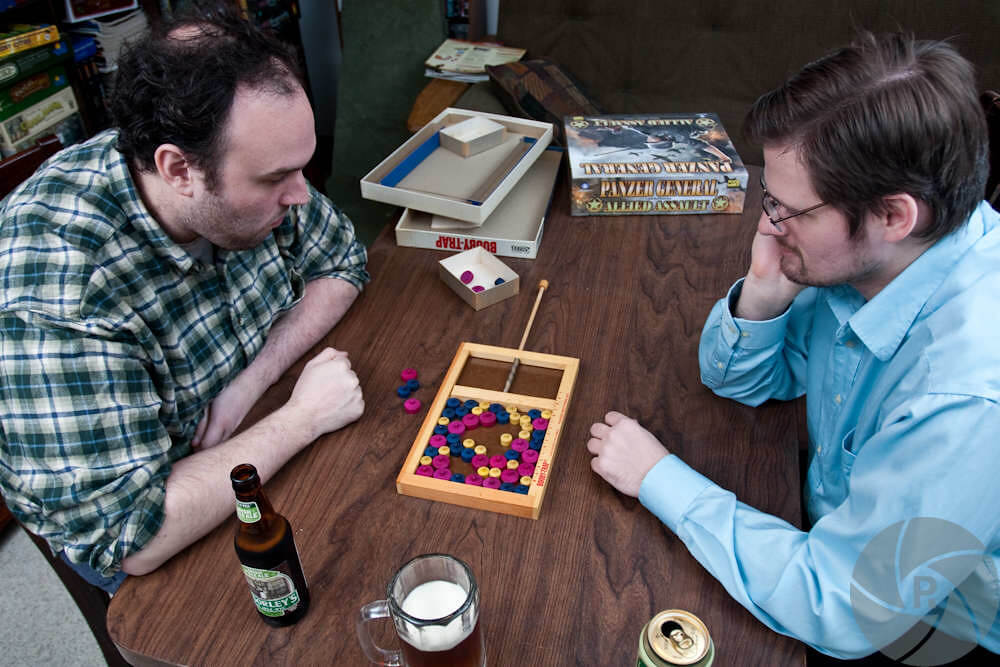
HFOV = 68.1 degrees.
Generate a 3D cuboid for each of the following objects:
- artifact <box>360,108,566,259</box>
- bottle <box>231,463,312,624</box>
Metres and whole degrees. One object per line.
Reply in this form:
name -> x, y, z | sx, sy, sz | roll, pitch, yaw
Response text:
artifact -> -0.093, -0.508, 2.508 | 0.556, 0.152, 0.632 | 9, 43, 14
bottle -> -0.472, 0.426, 1.471 | 0.117, 0.349, 0.139 | -14, 39, -13
